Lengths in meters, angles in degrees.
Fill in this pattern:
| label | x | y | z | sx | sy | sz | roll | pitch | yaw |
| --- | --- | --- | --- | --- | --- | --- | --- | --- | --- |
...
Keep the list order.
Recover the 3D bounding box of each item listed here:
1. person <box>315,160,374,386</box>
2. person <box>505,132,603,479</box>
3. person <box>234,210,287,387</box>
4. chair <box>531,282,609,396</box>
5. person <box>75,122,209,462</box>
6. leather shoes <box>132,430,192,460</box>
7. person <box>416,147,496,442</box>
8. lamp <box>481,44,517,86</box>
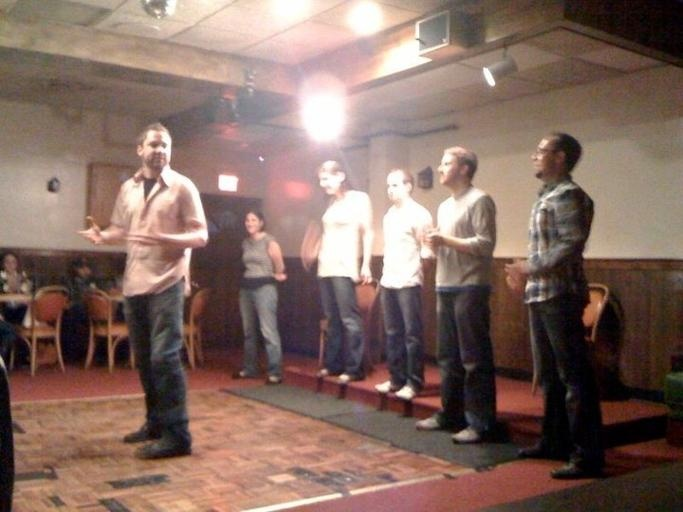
| label | x | y | z | sx | sy | sz | roll | pitch | yaw |
| --- | --- | --- | --- | --- | --- | --- | --- | --- | --- |
| person | 0.025 | 0.125 | 4.503 | 0.436 | 1.705 | 0.316 | 1 | 0 | 3 |
| person | 1.133 | 0.251 | 2.906 | 0.475 | 1.483 | 0.304 | 1 | 0 | 26 |
| person | -0.758 | 0.371 | 5.146 | 0.539 | 1.570 | 0.230 | 1 | 0 | 40 |
| chair | 1.662 | 0.553 | 3.994 | 0.447 | 0.665 | 0.456 | 1 | 1 | 45 |
| person | -1.048 | 0.169 | 3.048 | 0.603 | 1.897 | 0.483 | 1 | 0 | 20 |
| leather shoes | -0.967 | 1.022 | 2.972 | 0.302 | 0.213 | 0.115 | 10 | -15 | -20 |
| person | 0.724 | 0.221 | 3.358 | 0.452 | 1.585 | 0.443 | 1 | 0 | 23 |
| lamp | 1.084 | -1.319 | 3.726 | 0.098 | 0.225 | 0.187 | -42 | 25 | -24 |
